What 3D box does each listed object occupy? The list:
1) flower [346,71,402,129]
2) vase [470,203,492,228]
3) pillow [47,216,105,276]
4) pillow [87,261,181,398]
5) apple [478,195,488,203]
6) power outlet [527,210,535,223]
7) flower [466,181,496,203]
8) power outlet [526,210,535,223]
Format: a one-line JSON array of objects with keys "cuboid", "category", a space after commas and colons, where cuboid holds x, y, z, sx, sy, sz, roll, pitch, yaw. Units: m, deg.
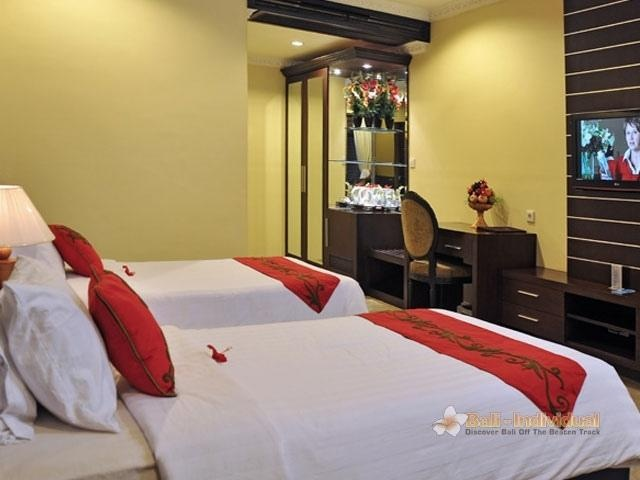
[{"cuboid": [0.706, -1.707, 5.707, 0.705, 0.677, 0.208, 0, 8, 4], "category": "flower"}, {"cuboid": [1.549, -0.239, 4.502, 0.224, 0.220, 0.228, 0, 3, 34], "category": "vase"}, {"cuboid": [-1.753, 0.035, 3.307, 0.359, 0.344, 0.110, 39, 49, 16], "category": "pillow"}, {"cuboid": [-0.706, 0.166, 1.823, 0.336, 0.535, 0.705, -2, 12, -28], "category": "pillow"}, {"cuboid": [1.551, -0.386, 4.376, 0.087, 0.071, 0.033, 1, 8, 13], "category": "apple"}, {"cuboid": [1.966, -0.215, 4.289, 0.017, 0.156, 0.113, 0, 1, -25], "category": "power outlet"}, {"cuboid": [1.552, -0.461, 4.494, 0.210, 0.135, 0.247, 1, 6, -3], "category": "flower"}, {"cuboid": [1.964, -0.218, 4.293, 0.014, 0.139, 0.120, -1, 2, -21], "category": "power outlet"}]
